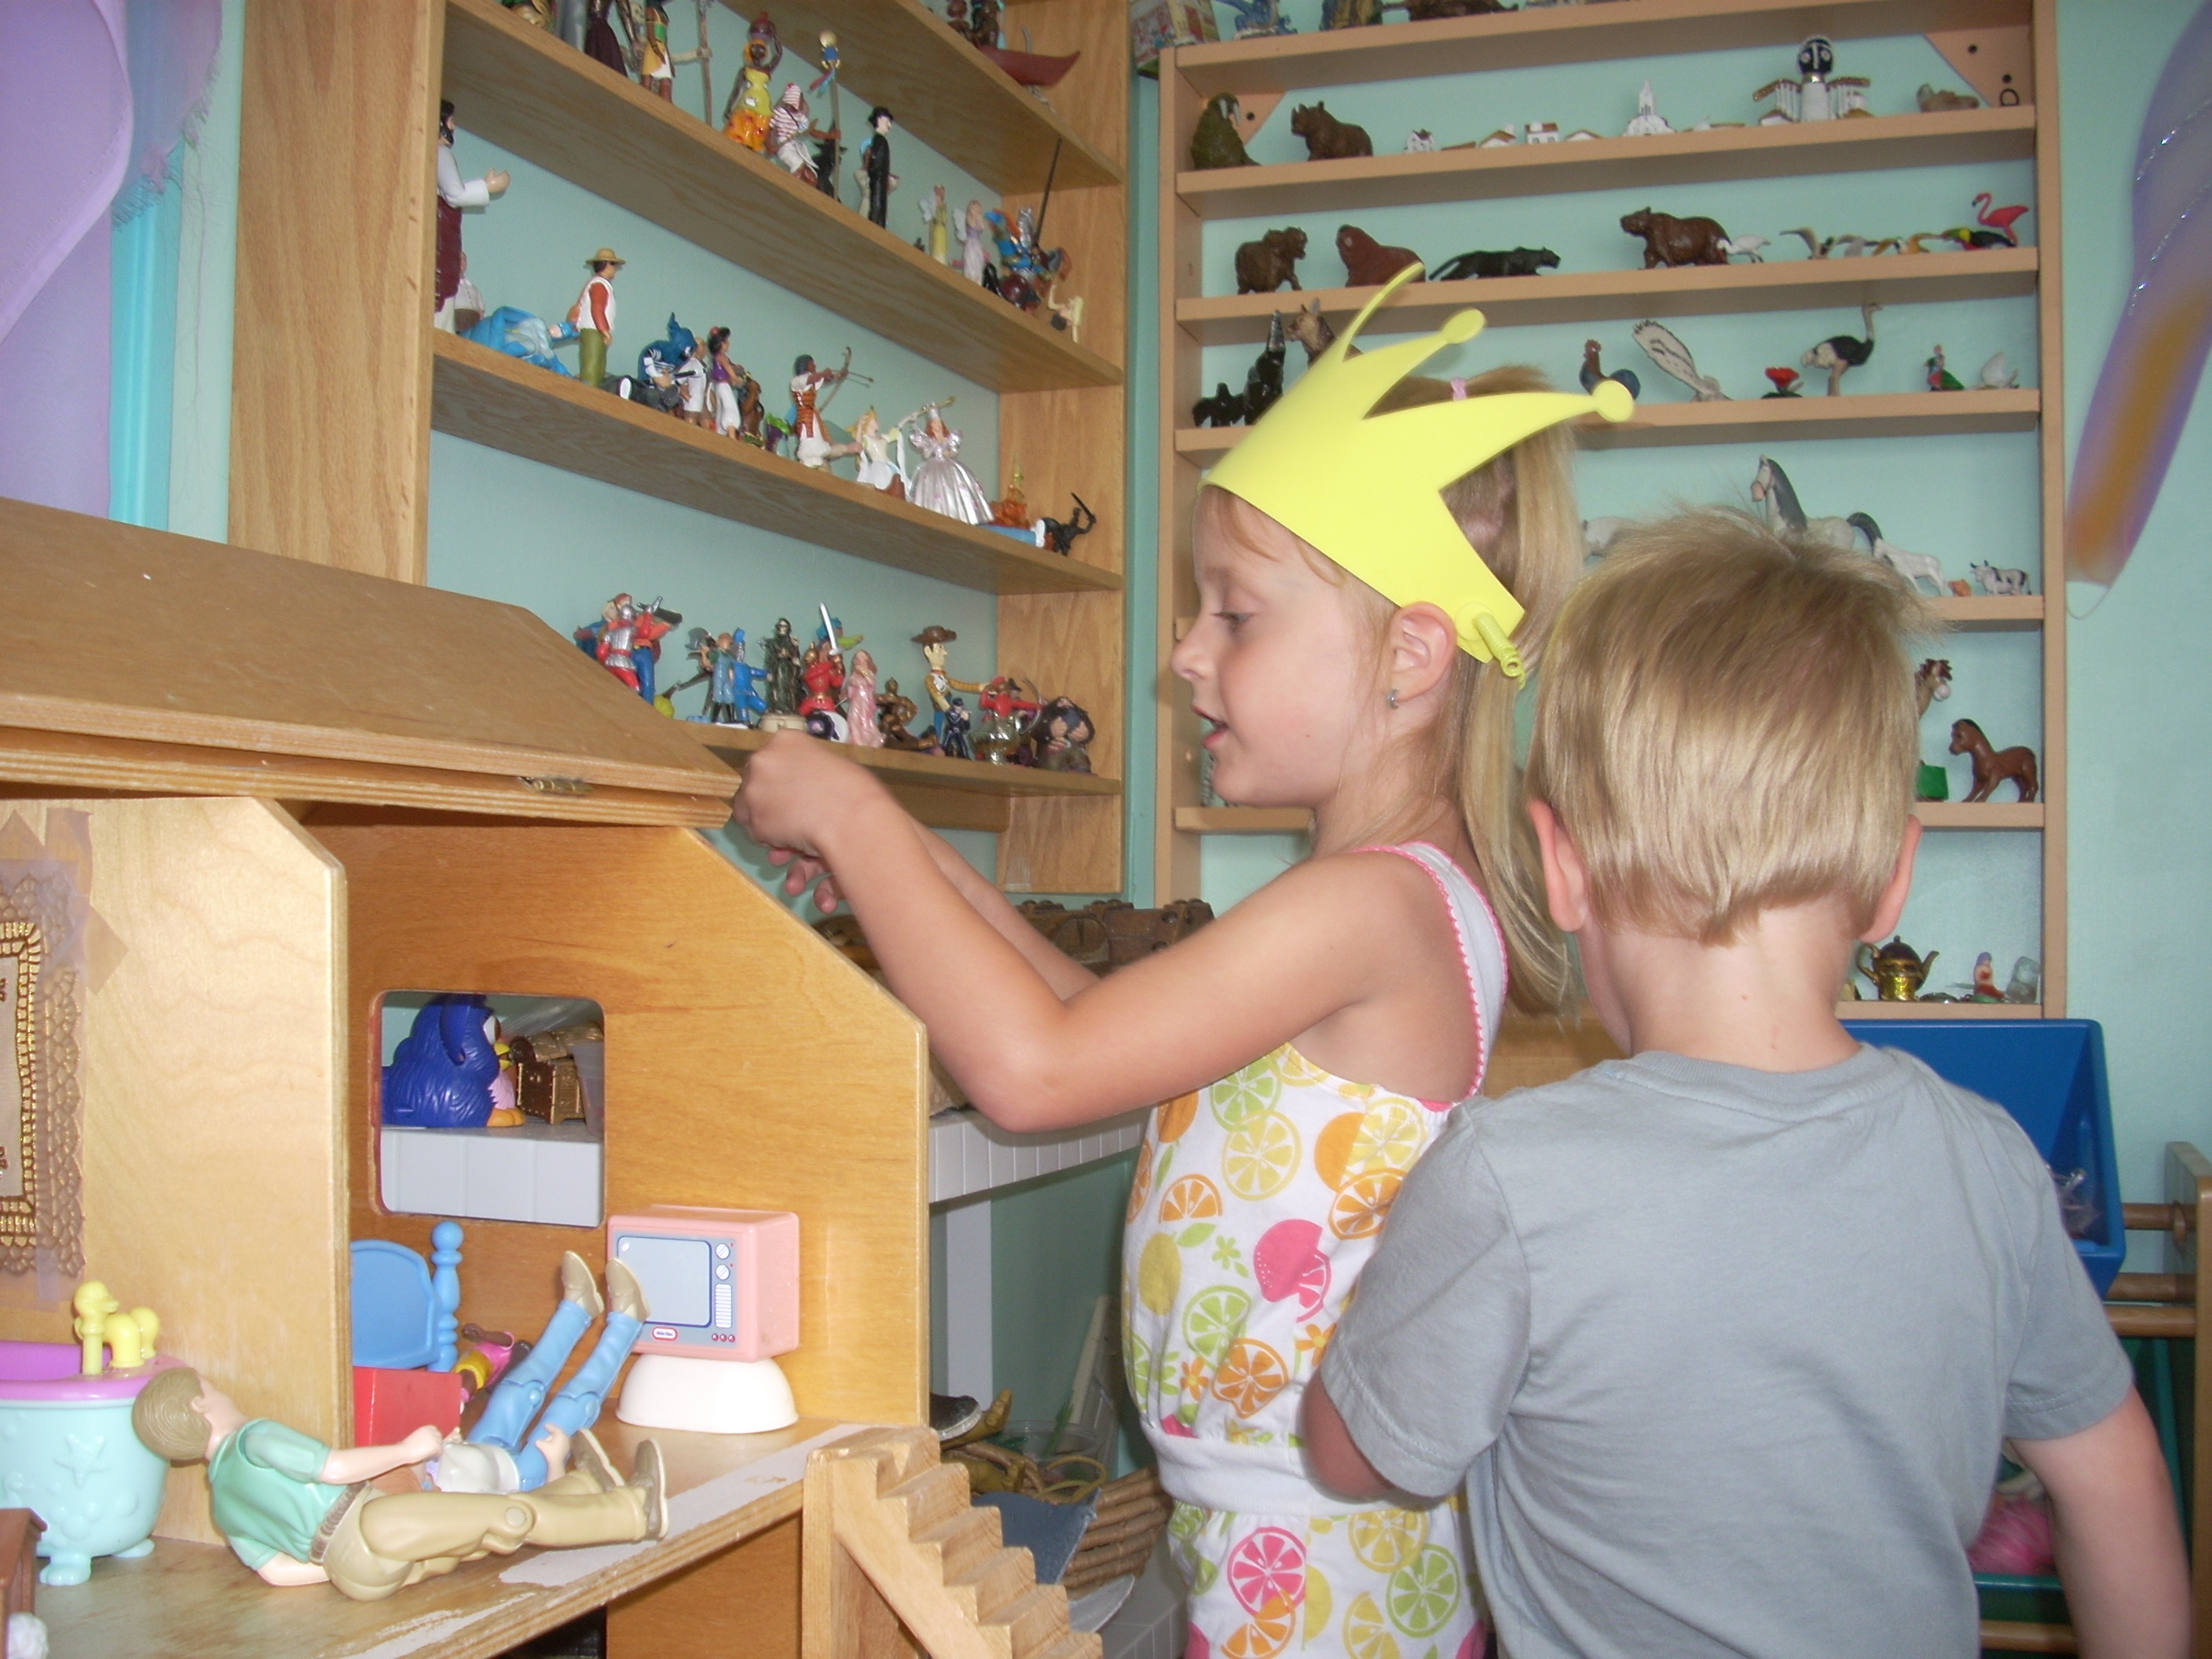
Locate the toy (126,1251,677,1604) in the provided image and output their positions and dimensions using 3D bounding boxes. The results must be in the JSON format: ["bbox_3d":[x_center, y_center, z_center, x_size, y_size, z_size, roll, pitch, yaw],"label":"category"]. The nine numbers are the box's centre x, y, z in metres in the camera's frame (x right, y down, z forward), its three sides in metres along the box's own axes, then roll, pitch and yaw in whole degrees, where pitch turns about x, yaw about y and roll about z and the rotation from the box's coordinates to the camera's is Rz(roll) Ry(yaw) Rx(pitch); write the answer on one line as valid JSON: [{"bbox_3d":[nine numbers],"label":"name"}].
[{"bbox_3d":[-0.366,0.310,1.010,0.269,0.166,0.104,-10,3,-34],"label":"toy"}]

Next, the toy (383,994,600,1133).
[{"bbox_3d":[-0.478,0.185,1.454,0.158,0.062,0.114,-4,-4,10],"label":"toy"}]

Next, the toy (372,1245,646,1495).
[{"bbox_3d":[-0.338,0.323,1.080,0.058,0.052,0.177,20,24,6],"label":"toy"}]
